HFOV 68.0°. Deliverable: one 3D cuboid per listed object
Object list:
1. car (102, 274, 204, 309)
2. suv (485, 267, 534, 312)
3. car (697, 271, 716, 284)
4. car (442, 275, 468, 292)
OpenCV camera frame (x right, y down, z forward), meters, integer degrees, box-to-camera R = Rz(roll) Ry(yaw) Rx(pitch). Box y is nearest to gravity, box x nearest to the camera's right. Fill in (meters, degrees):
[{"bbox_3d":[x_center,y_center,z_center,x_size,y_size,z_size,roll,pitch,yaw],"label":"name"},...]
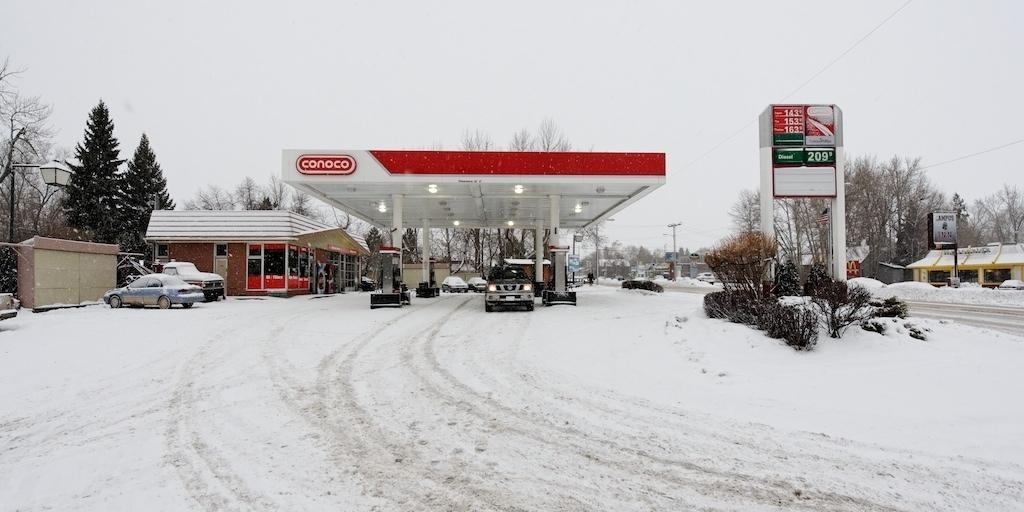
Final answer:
[{"bbox_3d":[-24.256,2.599,51.747,5.828,1.758,2.517,3,-2,4],"label":"car"},{"bbox_3d":[-0.180,2.284,51.663,3.106,2.937,1.415,-2,-1,9],"label":"suv"},{"bbox_3d":[22.956,2.669,89.771,2.217,1.011,1.399,7,4,37],"label":"car"},{"bbox_3d":[-5.322,2.729,69.339,1.274,0.972,2.128,1,-6,-20],"label":"car"}]
